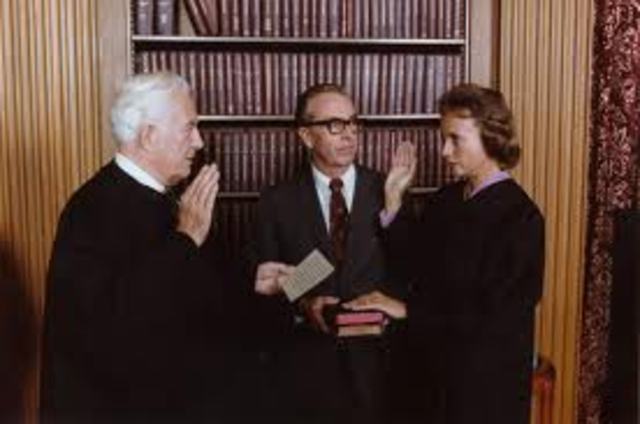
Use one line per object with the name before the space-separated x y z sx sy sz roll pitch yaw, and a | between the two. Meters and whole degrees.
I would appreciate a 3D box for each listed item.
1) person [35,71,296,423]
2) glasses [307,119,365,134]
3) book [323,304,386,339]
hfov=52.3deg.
person | -0.854 0.229 3.374 1.127 1.913 0.309 -1 2 -24
glasses | 0.095 -0.490 3.700 0.150 0.045 0.154 -3 1 -39
book | 0.179 0.586 3.495 0.208 0.056 0.210 -2 10 -14
